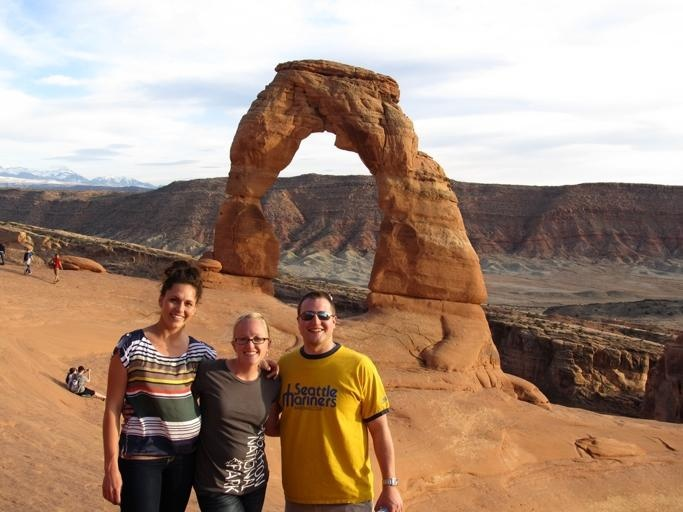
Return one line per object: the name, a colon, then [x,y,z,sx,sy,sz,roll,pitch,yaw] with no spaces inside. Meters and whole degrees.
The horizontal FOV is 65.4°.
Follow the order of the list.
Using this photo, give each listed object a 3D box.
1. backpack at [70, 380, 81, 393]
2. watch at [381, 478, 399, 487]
backpack: [-4.475,2.168,8.897,0.129,0.177,0.234,9,6,-39]
watch: [0.374,1.736,4.119,0.129,0.054,0.110,-2,-5,9]
